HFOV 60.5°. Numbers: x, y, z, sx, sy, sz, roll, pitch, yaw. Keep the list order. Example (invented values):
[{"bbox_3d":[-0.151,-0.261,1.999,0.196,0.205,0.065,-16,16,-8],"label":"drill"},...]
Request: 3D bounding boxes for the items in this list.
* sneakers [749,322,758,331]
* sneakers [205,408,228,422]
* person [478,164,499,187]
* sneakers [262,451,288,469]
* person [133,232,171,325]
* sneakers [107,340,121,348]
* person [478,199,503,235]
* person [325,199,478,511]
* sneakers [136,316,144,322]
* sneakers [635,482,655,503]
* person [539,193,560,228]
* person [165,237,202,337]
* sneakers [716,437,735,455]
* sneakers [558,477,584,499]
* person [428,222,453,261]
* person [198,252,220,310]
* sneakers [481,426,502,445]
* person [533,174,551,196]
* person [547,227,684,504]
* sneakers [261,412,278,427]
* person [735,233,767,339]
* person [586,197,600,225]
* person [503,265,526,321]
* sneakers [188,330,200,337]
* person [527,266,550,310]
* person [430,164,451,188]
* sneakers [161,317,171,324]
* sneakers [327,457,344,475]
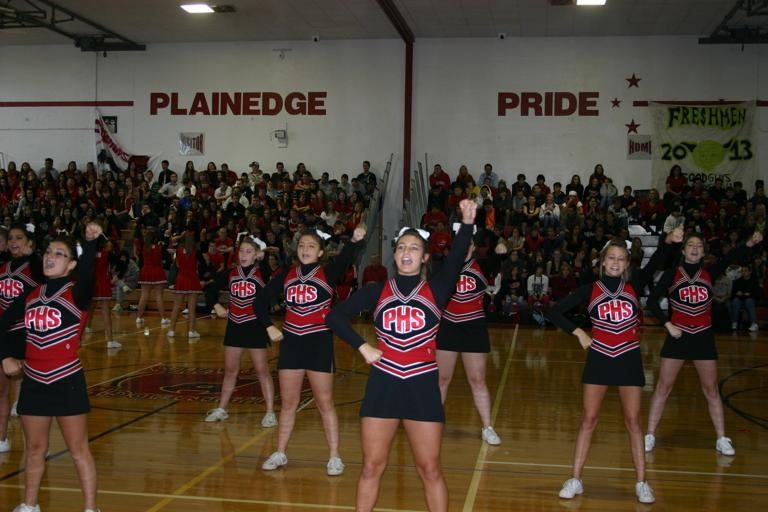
[{"bbox_3d":[8.690,1.646,15.381,0.206,0.219,0.130,3,-5,7],"label":"sneakers"},{"bbox_3d":[-2.333,2.201,9.220,0.165,0.112,0.273,-4,-12,16],"label":"sneakers"},{"bbox_3d":[3.282,-2.514,20.361,0.599,0.747,0.949,1,6,9],"label":"person"},{"bbox_3d":[-1.288,2.449,7.951,0.144,0.134,0.308,-1,-8,23],"label":"sneakers"},{"bbox_3d":[-5.386,0.450,15.472,0.713,2.255,0.729,2,6,14],"label":"person"},{"bbox_3d":[-5.331,1.740,13.117,0.119,0.142,0.297,7,5,32],"label":"sneakers"},{"bbox_3d":[2.892,-1.072,18.062,0.761,1.039,0.614,2,-15,-31],"label":"person"},{"bbox_3d":[0.178,0.971,6.088,1.214,2.770,0.561,1,6,6],"label":"person"},{"bbox_3d":[-5.832,1.499,15.771,0.100,0.125,0.284,1,7,-1],"label":"sneakers"},{"bbox_3d":[2.906,2.608,7.316,0.138,0.112,0.276,-2,-4,3],"label":"sneakers"},{"bbox_3d":[4.532,-1.270,17.867,0.561,0.873,0.978,2,6,14],"label":"person"},{"bbox_3d":[-4.393,0.591,14.424,0.694,2.264,1.337,-2,6,-19],"label":"person"},{"bbox_3d":[4.362,2.401,8.361,0.139,0.126,0.300,-21,-18,-2],"label":"sneakers"},{"bbox_3d":[2.119,2.610,7.422,0.137,0.156,0.356,-11,-21,37],"label":"sneakers"},{"bbox_3d":[1.546,-0.407,17.466,0.574,1.091,0.673,2,-6,4],"label":"person"},{"bbox_3d":[-4.339,0.615,16.379,0.512,1.600,0.508,2,-17,-29],"label":"person"},{"bbox_3d":[1.433,2.353,8.664,0.148,0.140,0.273,1,-4,-17],"label":"sneakers"},{"bbox_3d":[4.604,-2.065,19.223,0.403,0.606,0.914,2,6,17],"label":"person"},{"bbox_3d":[2.583,1.253,7.339,1.402,2.893,0.817,-3,7,-29],"label":"person"},{"bbox_3d":[-1.569,2.245,9.103,0.161,0.205,0.215,13,-25,-43],"label":"sneakers"},{"bbox_3d":[8.478,0.946,15.423,0.636,1.521,0.609,1,6,10],"label":"person"},{"bbox_3d":[5.654,-1.231,17.707,0.326,0.674,0.867,2,6,18],"label":"person"},{"bbox_3d":[3.281,0.931,16.411,0.583,1.359,0.423,1,6,9],"label":"person"},{"bbox_3d":[-4.069,1.633,14.167,0.188,0.166,0.340,1,6,2],"label":"sneakers"},{"bbox_3d":[3.786,0.748,16.048,0.479,1.000,0.619,1,6,5],"label":"person"},{"bbox_3d":[1.753,-2.467,20.167,0.686,0.738,1.473,1,6,4],"label":"person"},{"bbox_3d":[-5.146,1.504,15.627,0.115,0.147,0.338,2,3,15],"label":"sneakers"},{"bbox_3d":[-0.572,2.488,7.841,0.160,0.102,0.247,0,-7,-4],"label":"sneakers"}]
